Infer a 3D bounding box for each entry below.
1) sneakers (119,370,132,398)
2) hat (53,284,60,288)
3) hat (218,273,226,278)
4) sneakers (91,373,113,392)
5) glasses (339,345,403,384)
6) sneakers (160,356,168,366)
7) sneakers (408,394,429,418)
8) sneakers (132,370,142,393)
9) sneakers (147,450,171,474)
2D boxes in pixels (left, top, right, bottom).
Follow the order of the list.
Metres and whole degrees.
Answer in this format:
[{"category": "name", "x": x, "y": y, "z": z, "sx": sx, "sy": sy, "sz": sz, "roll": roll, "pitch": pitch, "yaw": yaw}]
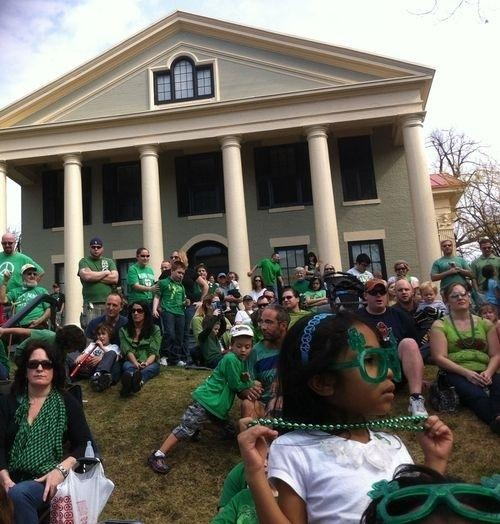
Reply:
[{"category": "sneakers", "x": -1.877, "y": 1.856, "z": 6.757, "sx": 0.167, "sy": 0.383, "sz": 0.178, "roll": 2, "pitch": -1, "yaw": -9}, {"category": "hat", "x": -8.162, "y": 1.006, "z": 18.650, "sx": 0.253, "sy": 0.168, "sz": 0.240, "roll": -12, "pitch": -20, "yaw": 31}, {"category": "hat", "x": -0.861, "y": 0.419, "z": 13.778, "sx": 0.204, "sy": 0.149, "sz": 0.287, "roll": 3, "pitch": -28, "yaw": -9}, {"category": "sneakers", "x": -2.318, "y": 1.874, "z": 6.908, "sx": 0.156, "sy": 0.391, "sz": 0.175, "roll": 36, "pitch": -16, "yaw": -20}, {"category": "glasses", "x": 0.396, "y": 0.327, "z": 1.436, "sx": 0.155, "sy": 0.059, "sz": 0.145, "roll": -7, "pitch": -7, "yaw": 27}, {"category": "sneakers", "x": -1.676, "y": 1.923, "z": 8.582, "sx": 0.144, "sy": 0.139, "sz": 0.132, "roll": 5, "pitch": -11, "yaw": -14}, {"category": "sneakers", "x": 1.887, "y": 1.642, "z": 5.035, "sx": 0.178, "sy": 0.198, "sz": 0.445, "roll": -6, "pitch": -3, "yaw": 15}, {"category": "sneakers", "x": -1.731, "y": 1.837, "z": 6.831, "sx": 0.117, "sy": 0.305, "sz": 0.134, "roll": 3, "pitch": -4, "yaw": -40}, {"category": "sneakers", "x": -1.035, "y": 2.259, "z": 5.055, "sx": 0.131, "sy": 0.154, "sz": 0.360, "roll": 7, "pitch": -2, "yaw": -44}]
